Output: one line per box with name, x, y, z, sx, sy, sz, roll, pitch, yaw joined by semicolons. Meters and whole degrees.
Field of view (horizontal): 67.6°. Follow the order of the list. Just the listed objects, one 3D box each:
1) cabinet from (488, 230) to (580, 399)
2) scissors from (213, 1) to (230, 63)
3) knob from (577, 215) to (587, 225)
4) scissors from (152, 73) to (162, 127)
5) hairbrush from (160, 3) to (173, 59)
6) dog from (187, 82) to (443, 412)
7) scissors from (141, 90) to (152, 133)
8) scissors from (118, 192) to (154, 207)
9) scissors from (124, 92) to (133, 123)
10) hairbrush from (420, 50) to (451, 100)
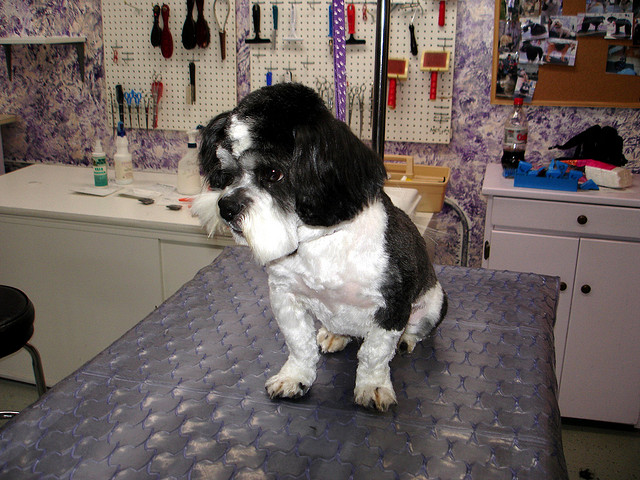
cabinet;1.217;0.374;2.868;0.437;0.966;0.474;7;21;17
scissors;-0.629;-1.337;3.051;0.076;0.338;0.033;0;16;7
knob;1.336;-0.106;2.439;0.037;0.042;0.026;6;48;-13
scissors;-1.113;-0.965;3.272;0.083;0.346;0.044;-1;13;-3
hairbrush;-1.013;-1.377;3.139;0.077;0.339;0.069;-1;13;-6
dog;0.065;-0.014;1.481;0.476;0.965;0.869;9;22;35
scissors;-1.205;-0.920;3.319;0.063;0.239;0.024;4;14;15
scissors;-1.061;-0.246;2.788;0.309;0.037;0.086;13;20;37
scissors;-1.324;-0.938;3.325;0.065;0.177;0.030;10;17;37
hairbrush;0.687;-1.004;2.874;0.141;0.284;0.053;6;22;11
